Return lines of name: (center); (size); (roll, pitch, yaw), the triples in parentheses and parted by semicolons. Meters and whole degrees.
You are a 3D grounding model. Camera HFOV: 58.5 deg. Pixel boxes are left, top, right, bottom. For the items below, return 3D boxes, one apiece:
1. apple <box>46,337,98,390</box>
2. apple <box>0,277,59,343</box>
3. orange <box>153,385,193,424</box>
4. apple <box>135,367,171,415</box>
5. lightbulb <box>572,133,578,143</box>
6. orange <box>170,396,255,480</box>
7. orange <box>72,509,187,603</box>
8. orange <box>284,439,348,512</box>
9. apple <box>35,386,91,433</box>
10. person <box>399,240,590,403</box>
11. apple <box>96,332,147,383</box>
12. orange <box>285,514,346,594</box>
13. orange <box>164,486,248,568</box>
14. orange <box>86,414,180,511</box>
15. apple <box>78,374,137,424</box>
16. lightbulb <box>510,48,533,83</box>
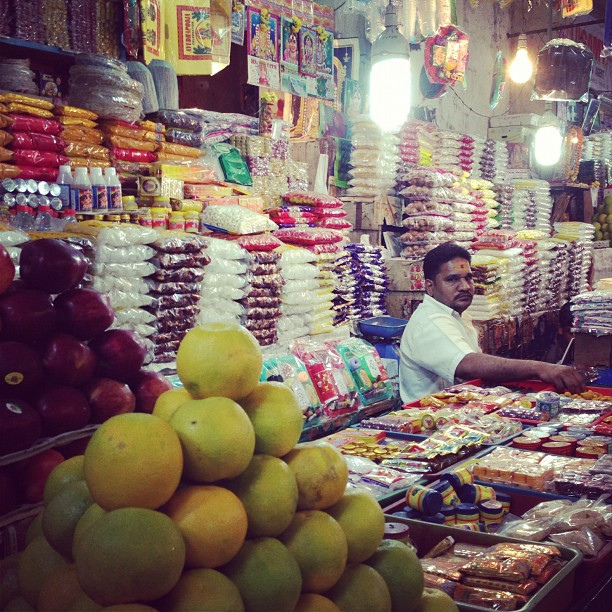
apple: (-0.515, 0.122, 1.164); (0.131, 0.097, 0.111); (9, -14, -12)
apple: (-0.562, 0.025, 1.110); (0.098, 0.107, 0.064); (-2, 13, -23)
orange: (-0.214, 0.161, 0.858); (0.062, 0.050, 0.054); (-10, 24, 11)
apple: (-0.359, 0.197, 1.305); (0.111, 0.106, 0.097); (3, -13, -3)
lightbulb: (4.552, -2.855, 9.279); (0.075, 0.177, 0.225); (13, 15, 36)
orange: (-0.122, 0.173, 0.741); (0.138, 0.100, 0.113); (0, -11, -2)
orange: (-0.181, 0.276, 0.624); (0.132, 0.075, 0.091); (0, -4, -2)
orange: (0.029, 0.278, 0.893); (0.110, 0.084, 0.110); (-15, -11, 33)
apple: (-0.466, 0.202, 1.115); (0.100, 0.077, 0.107); (-13, 8, -3)
person: (1.034, 0.146, 3.365); (0.810, 1.010, 1.086); (2, 12, -2)
apple: (-0.399, 0.105, 1.266); (0.119, 0.109, 0.108); (-15, 13, -18)
orange: (0.013, 0.361, 0.781); (0.068, 0.094, 0.083); (12, 15, 38)
orange: (-0.111, 0.280, 0.740); (0.123, 0.091, 0.102); (8, -3, -2)
orange: (-0.208, 0.196, 0.727); (0.142, 0.105, 0.119); (1, -4, 10)
apple: (-0.429, 0.191, 1.197); (0.108, 0.100, 0.085); (9, 25, -18)
lightbulb: (2.796, -3.146, 7.100); (0.265, 0.444, 0.369); (6, 13, 15)
